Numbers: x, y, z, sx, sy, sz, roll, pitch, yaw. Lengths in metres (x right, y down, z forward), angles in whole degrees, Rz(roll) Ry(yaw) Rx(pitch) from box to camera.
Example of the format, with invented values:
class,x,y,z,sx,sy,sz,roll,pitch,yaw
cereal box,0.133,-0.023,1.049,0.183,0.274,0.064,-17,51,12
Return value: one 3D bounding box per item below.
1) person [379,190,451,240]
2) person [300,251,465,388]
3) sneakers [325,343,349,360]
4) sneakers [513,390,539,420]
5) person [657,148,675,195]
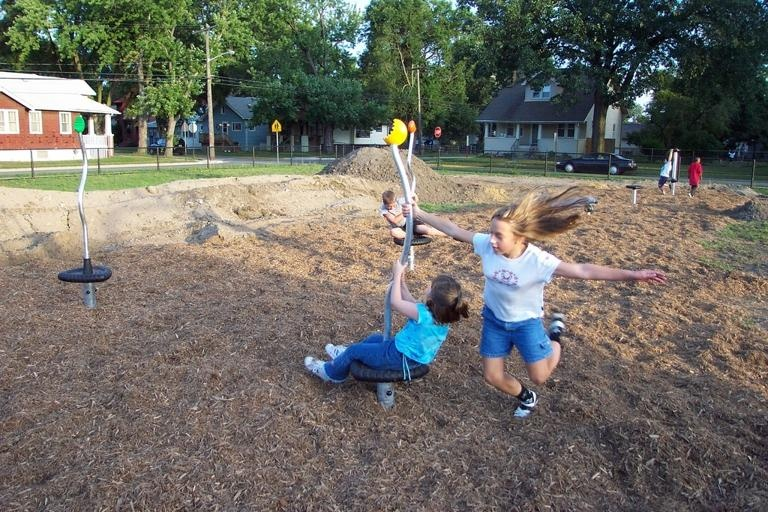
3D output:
class,x,y,z,sx,sy,sz,roll,pitch,yaw
person,0.514,-0.637,11.127,1.410,0.960,1.000,6,-5,-1
person,0.018,0.860,7.295,1.738,1.617,0.735,13,3,21
sneakers,-0.590,1.220,7.697,0.273,0.123,0.101,26,21,-12
sneakers,1.690,1.801,7.328,0.159,0.213,0.474,-7,4,34
person,9.852,-2.984,21.379,0.372,1.451,1.660,8,15,23
